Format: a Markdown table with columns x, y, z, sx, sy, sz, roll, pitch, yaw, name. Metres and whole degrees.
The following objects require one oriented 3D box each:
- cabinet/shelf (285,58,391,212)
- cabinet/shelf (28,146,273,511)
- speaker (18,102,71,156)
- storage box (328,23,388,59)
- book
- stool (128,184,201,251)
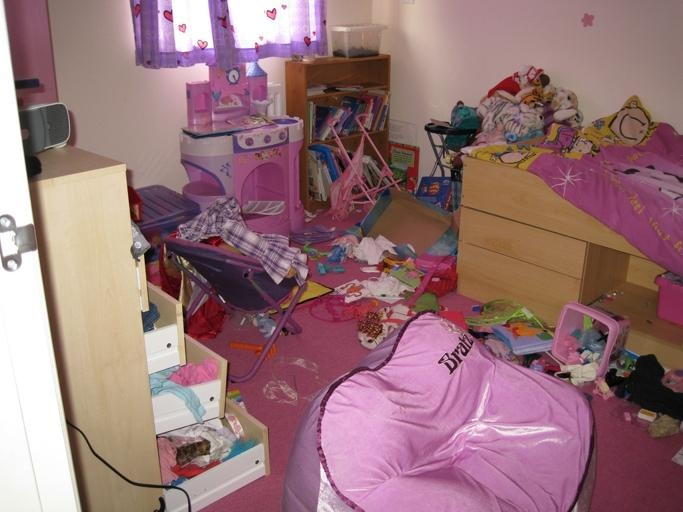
| x | y | z | sx | sy | sz | roll | pitch | yaw | name |
| --- | --- | --- | --- | --- | --- | --- | --- | --- | --- |
| -0.049 | -1.307 | 5.001 | 0.850 | 1.160 | 0.289 | -19 | 40 | -28 | cabinet/shelf |
| -0.738 | -0.008 | 2.339 | 0.968 | 1.914 | 0.929 | -12 | 27 | -25 | cabinet/shelf |
| -0.891 | -0.387 | 1.577 | 0.141 | 0.139 | 0.098 | -17 | 22 | -38 | speaker |
| 0.153 | -1.993 | 4.813 | 0.487 | 0.300 | 0.299 | -2 | 17 | 4 | storage box |
| 0.034 | -1.007 | 4.763 | 0.305 | 1.135 | 0.957 | 10 | 24 | 32 | book |
| -1.251 | -0.327 | 3.674 | 0.513 | 0.182 | 0.375 | -22 | 42 | -38 | stool |
